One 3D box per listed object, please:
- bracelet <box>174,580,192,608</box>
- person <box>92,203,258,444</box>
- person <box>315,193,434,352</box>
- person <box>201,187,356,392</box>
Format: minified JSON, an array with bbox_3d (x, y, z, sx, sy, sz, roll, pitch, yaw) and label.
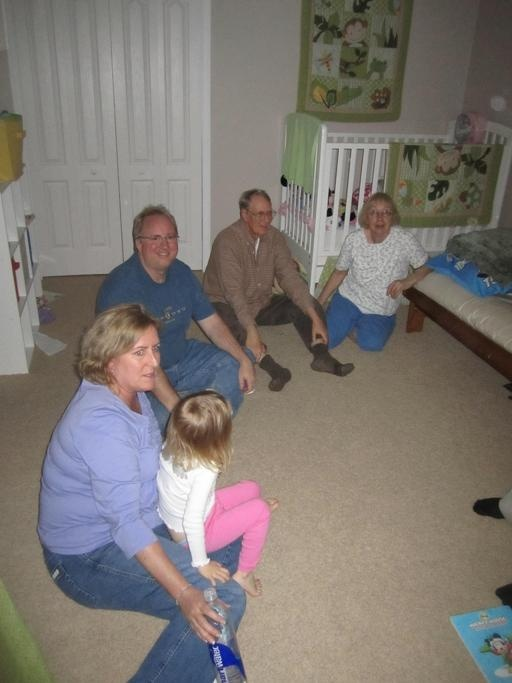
[{"bbox_3d":[-0.157,0.573,1.190,0.018,0.043,0.049,17,43,-10],"label":"bracelet"},{"bbox_3d":[-0.326,-0.085,2.105,0.642,0.843,0.694,1,23,0],"label":"person"},{"bbox_3d":[0.689,-0.431,3.212,0.719,0.889,0.529,-17,39,-19],"label":"person"},{"bbox_3d":[0.089,-0.313,2.930,0.656,0.857,1.131,-14,35,-28],"label":"person"}]
